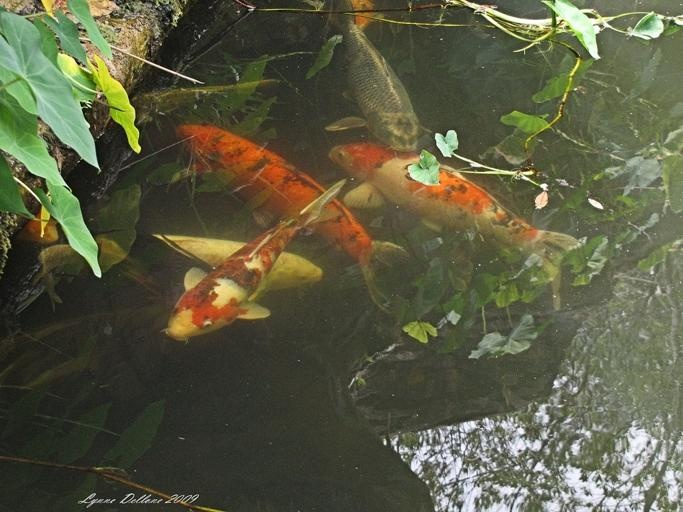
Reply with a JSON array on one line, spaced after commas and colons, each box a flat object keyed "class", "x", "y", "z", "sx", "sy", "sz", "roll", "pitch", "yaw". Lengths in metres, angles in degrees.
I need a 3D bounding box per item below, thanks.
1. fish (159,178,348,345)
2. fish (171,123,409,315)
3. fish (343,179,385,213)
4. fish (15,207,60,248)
[{"class": "fish", "x": -0.375, "y": 0.092, "z": 3.632, "sx": 0.363, "sy": 0.331, "sz": 0.915, "roll": 42, "pitch": 79, "yaw": 11}, {"class": "fish", "x": -0.379, "y": -0.292, "z": 3.661, "sx": 0.396, "sy": 1.104, "sz": 0.400, "roll": 39, "pitch": 105, "yaw": 40}, {"class": "fish", "x": 0.100, "y": -0.259, "z": 3.562, "sx": 0.231, "sy": 0.083, "sz": 0.129, "roll": 15, "pitch": 86, "yaw": 1}, {"class": "fish", "x": -1.296, "y": -0.113, "z": 3.431, "sx": 0.167, "sy": 0.093, "sz": 0.147, "roll": 23, "pitch": 66, "yaw": 16}]
